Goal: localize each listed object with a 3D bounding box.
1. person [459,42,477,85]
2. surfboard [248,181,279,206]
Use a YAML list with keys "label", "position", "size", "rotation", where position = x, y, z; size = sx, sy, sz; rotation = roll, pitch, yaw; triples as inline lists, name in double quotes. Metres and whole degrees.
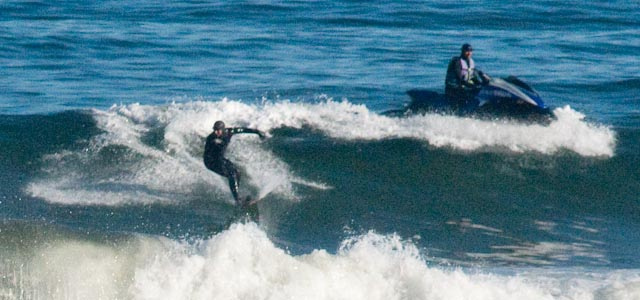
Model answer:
- label: "person"
  position: [8.580, -4.948, 56.568]
  size: [1.071, 2.316, 0.982]
  rotation: [4, 25, 6]
- label: "surfboard"
  position: [-3.052, 2.317, 54.556]
  size: [2.270, 0.358, 0.676]
  rotation: [-35, 60, -12]
